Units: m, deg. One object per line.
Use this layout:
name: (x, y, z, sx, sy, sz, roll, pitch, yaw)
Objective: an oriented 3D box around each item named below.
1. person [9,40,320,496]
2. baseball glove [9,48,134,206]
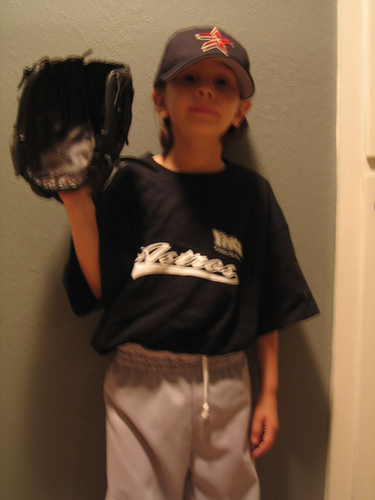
person: (-0.062, 0.040, 1.207, 0.707, 1.007, 0.497, -2, 18, 11)
baseball glove: (-0.267, -0.274, 1.257, 0.278, 0.323, 0.152, 0, 1, -2)
